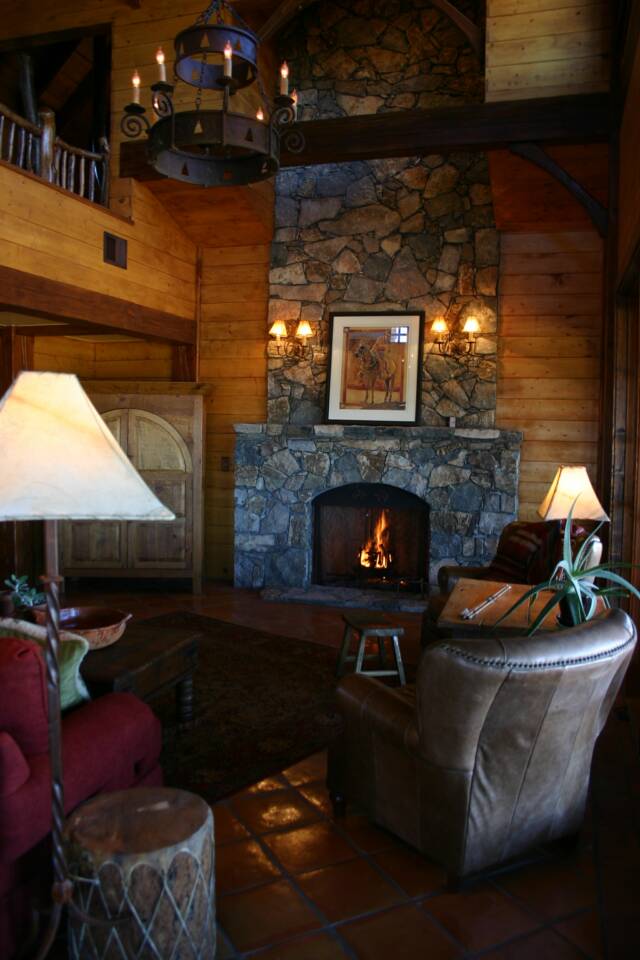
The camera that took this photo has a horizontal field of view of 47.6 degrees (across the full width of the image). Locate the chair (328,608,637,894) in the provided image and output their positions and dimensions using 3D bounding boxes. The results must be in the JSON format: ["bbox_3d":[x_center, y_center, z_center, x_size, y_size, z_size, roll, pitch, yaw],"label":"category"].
[{"bbox_3d":[0.496,0.723,2.304,0.726,0.741,0.822,-3,7,-32],"label":"chair"}]

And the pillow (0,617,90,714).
[{"bbox_3d":[-0.733,0.523,2.015,0.274,0.273,0.111,9,13,20],"label":"pillow"}]

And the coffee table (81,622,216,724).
[{"bbox_3d":[-0.652,0.798,2.768,0.392,0.246,0.471,3,9,14],"label":"coffee table"}]

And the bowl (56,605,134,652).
[{"bbox_3d":[-0.875,0.562,2.811,0.255,0.103,0.293,10,8,35],"label":"bowl"}]

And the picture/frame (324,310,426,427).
[{"bbox_3d":[0.509,-0.923,6.098,0.976,1.173,0.051,2,-3,17],"label":"picture/frame"}]
